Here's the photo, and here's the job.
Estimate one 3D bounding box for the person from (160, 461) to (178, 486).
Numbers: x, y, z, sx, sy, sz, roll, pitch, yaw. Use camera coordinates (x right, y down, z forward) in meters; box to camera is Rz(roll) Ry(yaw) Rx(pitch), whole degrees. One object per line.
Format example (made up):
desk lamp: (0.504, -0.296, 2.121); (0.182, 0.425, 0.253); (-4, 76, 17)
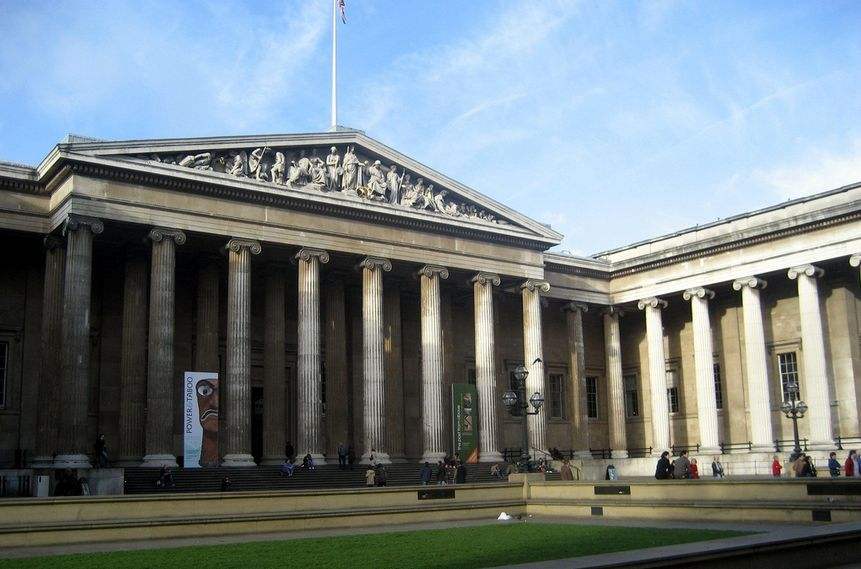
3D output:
person: (-12.316, 9.085, 40.688); (0.903, 1.498, 0.908); (6, -12, -33)

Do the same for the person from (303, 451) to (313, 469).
person: (-6.463, 9.317, 45.717); (0.527, 0.915, 0.688); (0, -16, -8)

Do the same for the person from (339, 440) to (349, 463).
person: (-4.884, 9.460, 48.234); (0.421, 1.304, 2.066); (0, -15, -10)

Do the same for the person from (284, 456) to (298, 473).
person: (-7.349, 9.486, 45.193); (0.615, 1.008, 2.095); (0, -15, -9)
